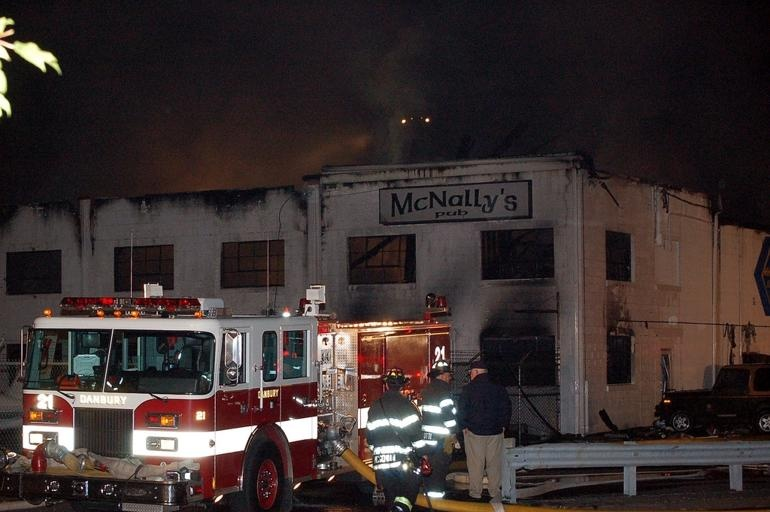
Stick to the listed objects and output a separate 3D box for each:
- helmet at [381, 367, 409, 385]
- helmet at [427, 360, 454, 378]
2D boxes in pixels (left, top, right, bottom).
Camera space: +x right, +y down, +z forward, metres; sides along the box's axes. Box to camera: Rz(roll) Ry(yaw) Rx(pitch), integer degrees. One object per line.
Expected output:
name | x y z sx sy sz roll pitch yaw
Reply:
helmet | 0.216 2.244 23.701 0.346 0.241 0.409 2 -5 -1
helmet | 1.100 2.292 25.818 0.289 0.318 0.430 -3 1 11
